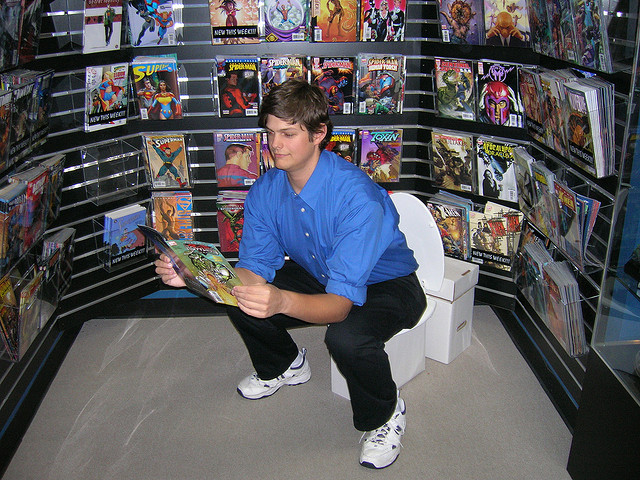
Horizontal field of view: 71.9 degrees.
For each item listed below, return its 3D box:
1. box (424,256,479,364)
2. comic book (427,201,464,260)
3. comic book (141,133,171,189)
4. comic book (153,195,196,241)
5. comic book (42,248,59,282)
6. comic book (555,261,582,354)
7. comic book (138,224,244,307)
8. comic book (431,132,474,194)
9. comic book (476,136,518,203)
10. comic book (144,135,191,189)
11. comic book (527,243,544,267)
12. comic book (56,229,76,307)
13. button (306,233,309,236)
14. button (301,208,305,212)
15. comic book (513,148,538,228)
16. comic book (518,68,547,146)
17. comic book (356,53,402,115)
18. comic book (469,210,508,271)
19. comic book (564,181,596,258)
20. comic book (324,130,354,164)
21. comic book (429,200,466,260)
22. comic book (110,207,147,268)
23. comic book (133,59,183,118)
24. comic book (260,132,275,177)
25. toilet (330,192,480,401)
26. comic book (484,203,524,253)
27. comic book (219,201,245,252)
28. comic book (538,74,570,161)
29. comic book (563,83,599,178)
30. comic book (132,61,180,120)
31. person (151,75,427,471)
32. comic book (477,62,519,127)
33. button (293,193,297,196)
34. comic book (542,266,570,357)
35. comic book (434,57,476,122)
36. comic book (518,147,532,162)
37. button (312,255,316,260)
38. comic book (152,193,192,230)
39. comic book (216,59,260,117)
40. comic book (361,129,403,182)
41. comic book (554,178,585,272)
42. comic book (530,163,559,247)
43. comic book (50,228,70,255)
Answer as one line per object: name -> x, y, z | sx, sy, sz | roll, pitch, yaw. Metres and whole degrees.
box -> 0.796, 0.430, 2.821 | 0.365, 0.587, 0.399 | -7, 22, -13
comic book -> 0.784, -0.072, 2.773 | 0.277, 0.427, 0.043 | 19, 41, 35
comic book -> -1.108, -0.511, 2.929 | 0.092, 0.357, 0.042 | -5, 19, -5
comic book -> -1.003, -0.145, 3.032 | 0.248, 0.386, 0.038 | -2, 33, -17
comic book -> -1.435, 0.136, 2.342 | 0.049, 0.095, 0.174 | -6, 22, -9
comic book -> 1.198, 0.325, 2.134 | 0.005, 0.468, 0.123 | -7, -5, -12
comic book -> -0.511, 0.187, 1.874 | 0.317, 0.399, 0.143 | 33, 78, 34
comic book -> 0.859, -0.504, 2.849 | 0.286, 0.418, 0.042 | 22, 45, 35
comic book -> 1.086, -0.437, 2.695 | 0.305, 0.449, 0.044 | 18, 43, 37
comic book -> -1.001, -0.518, 2.908 | 0.272, 0.408, 0.052 | -5, 31, 0
comic book -> 1.165, 0.088, 2.374 | 0.021, 0.011, 0.262 | 0, 23, 9
comic book -> -1.477, 0.177, 2.585 | 0.293, 0.385, 0.042 | -16, -13, 34
button -> -0.063, -0.024, 2.197 | 0.012, 0.015, 0.003 | -10, 1, 13
button -> -0.084, -0.142, 2.153 | 0.014, 0.017, 0.004 | 1, 7, 11
comic book -> 1.118, -0.287, 2.403 | 0.047, 0.382, 0.272 | -15, 35, 7
comic book -> 1.111, -0.700, 2.310 | 0.044, 0.375, 0.300 | -17, 29, 2
comic book -> 0.382, -0.988, 2.832 | 0.301, 0.411, 0.045 | 3, 47, 7
comic book -> 1.089, -0.006, 2.846 | 0.294, 0.407, 0.050 | 17, 40, 33
comic book -> 1.151, -0.075, 1.960 | 0.024, 0.266, 0.236 | -2, 32, 8
comic book -> 0.110, -0.585, 2.902 | 0.218, 0.034, 0.348 | 1, 60, 4
comic book -> 0.806, -0.075, 2.800 | 0.314, 0.491, 0.014 | 11, 35, 28
comic book -> -1.236, -0.025, 2.827 | 0.216, 0.280, 0.258 | 18, 28, 28
comic book -> -1.015, -0.948, 2.771 | 0.314, 0.505, 0.013 | -2, 20, -5
comic book -> -0.348, -0.541, 2.848 | 0.085, 0.280, 0.185 | -7, 20, -12
toilet -> 0.555, 0.280, 2.639 | 0.849, 1.077, 0.514 | -19, 27, -28
comic book -> 1.083, -0.054, 2.753 | 0.259, 0.288, 0.065 | -7, -14, -16
comic book -> -0.606, -0.056, 3.080 | 0.207, 0.312, 0.185 | -13, -16, 2
comic book -> 1.088, -0.574, 2.054 | 0.029, 0.326, 0.263 | -13, 30, 4
comic book -> 1.094, -0.466, 1.856 | 0.033, 0.353, 0.257 | -18, 28, -1
comic book -> -1.031, -0.912, 2.793 | 0.263, 0.408, 0.047 | -7, -14, -23
person -> -0.082, 0.171, 2.222 | 0.948, 1.808, 1.272 | 12, 24, 39
comic book -> 1.047, -0.853, 2.585 | 0.269, 0.417, 0.031 | 19, 43, 33
button -> -0.118, -0.216, 2.159 | 0.005, 0.008, 0.026 | -13, 24, -26
comic book -> 1.190, 0.346, 2.226 | 0.034, 0.379, 0.336 | -7, 41, 10
comic book -> 0.836, -0.927, 2.719 | 0.305, 0.451, 0.019 | 22, 44, 39
comic book -> 1.065, -0.435, 2.295 | 0.013, 0.031, 0.204 | -1, 22, 6
button -> -0.032, 0.092, 2.264 | 0.006, 0.020, 0.013 | -31, 6, -29
comic book -> -1.001, -0.199, 2.994 | 0.222, 0.234, 0.082 | -1, 7, -2
comic book -> -0.506, -0.946, 2.800 | 0.277, 0.405, 0.045 | -4, -9, -8
comic book -> 0.403, -0.571, 2.987 | 0.274, 0.391, 0.041 | 4, 42, 10
comic book -> 1.142, -0.080, 2.024 | 0.037, 0.399, 0.301 | -12, 23, 7
comic book -> 1.122, -0.186, 2.210 | 0.032, 0.357, 0.273 | -15, 38, 10
comic book -> -1.441, 0.011, 2.438 | 0.017, 0.079, 0.078 | 25, 19, 2
